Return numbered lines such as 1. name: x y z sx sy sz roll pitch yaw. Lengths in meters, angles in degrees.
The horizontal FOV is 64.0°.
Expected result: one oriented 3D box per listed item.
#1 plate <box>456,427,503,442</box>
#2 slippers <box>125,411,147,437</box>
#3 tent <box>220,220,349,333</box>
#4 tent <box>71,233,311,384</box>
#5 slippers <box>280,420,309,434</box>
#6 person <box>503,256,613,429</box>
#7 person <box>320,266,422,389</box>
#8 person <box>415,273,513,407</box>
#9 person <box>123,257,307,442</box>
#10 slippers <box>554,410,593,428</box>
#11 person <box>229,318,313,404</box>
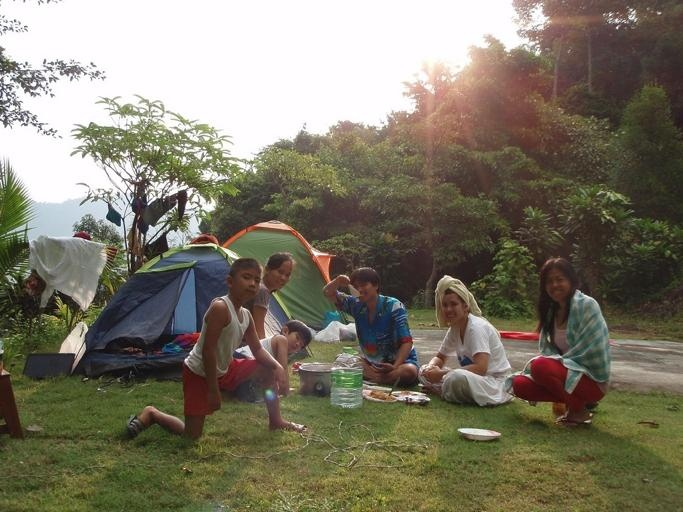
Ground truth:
1. plate: 1.152 1.490 4.593 0.342 0.054 0.249 3 5 31
2. slippers: -1.705 1.407 4.513 0.124 0.150 0.131 4 5 33
3. tent: -1.068 0.337 10.592 2.042 1.417 1.874 1 5 15
4. tent: -2.055 0.379 7.500 2.328 1.201 2.459 9 -3 -14
5. slippers: -0.409 1.457 4.711 0.274 0.133 0.089 -2 5 -5
6. person: 2.019 0.757 4.983 0.483 1.439 0.705 -4 7 -43
7. person: 0.355 0.792 6.197 0.962 1.327 0.804 -3 5 11
8. person: 1.333 0.941 5.771 0.829 1.337 1.322 3 -10 -4
9. person: -0.993 0.775 4.605 1.480 1.466 0.587 4 -9 -25
10. slippers: 2.082 1.433 4.870 0.236 0.110 0.143 4 -11 10
11. person: -0.745 1.096 5.845 0.767 0.901 0.622 5 -9 -6
